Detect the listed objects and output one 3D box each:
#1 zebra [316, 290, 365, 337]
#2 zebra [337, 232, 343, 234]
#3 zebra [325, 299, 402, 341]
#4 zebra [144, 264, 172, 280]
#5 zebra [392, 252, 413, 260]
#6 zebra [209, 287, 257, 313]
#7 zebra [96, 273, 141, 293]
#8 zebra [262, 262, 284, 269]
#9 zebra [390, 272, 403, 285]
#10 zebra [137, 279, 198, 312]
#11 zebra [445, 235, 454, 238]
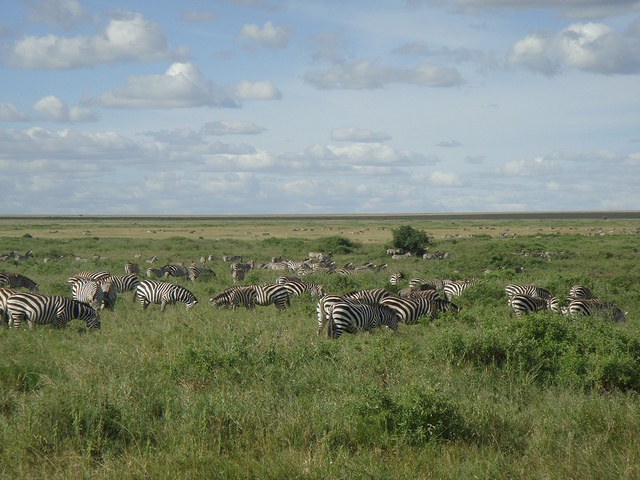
[{"bbox_3d":[0.770,1.955,23.223,2.362,1.523,0.642,-5,8,-41],"label":"zebra"},{"bbox_3d":[2.028,-0.554,78.736,0.682,0.175,0.370,4,2,20],"label":"zebra"},{"bbox_3d":[1.152,2.350,21.860,1.937,1.090,0.652,-3,-12,-28],"label":"zebra"},{"bbox_3d":[-7.587,1.583,36.805,0.790,0.480,1.674,1,6,17],"label":"zebra"},{"bbox_3d":[4.991,1.019,47.456,0.645,0.187,0.384,-4,-44,-11],"label":"zebra"},{"bbox_3d":[-2.845,2.037,26.923,1.814,1.064,0.628,0,0,-3],"label":"zebra"},{"bbox_3d":[-7.445,1.816,29.845,1.126,0.872,2.523,-1,6,-2],"label":"zebra"},{"bbox_3d":[-2.525,1.408,42.214,0.763,0.309,1.427,-5,7,-35],"label":"zebra"},{"bbox_3d":[3.250,1.735,33.708,0.250,0.526,0.933,-6,4,31],"label":"zebra"},{"bbox_3d":[-5.384,2.136,27.355,2.282,1.236,0.687,9,12,8],"label":"zebra"},{"bbox_3d":[10.983,-0.217,66.498,0.656,0.164,0.360,1,0,-7],"label":"zebra"}]
